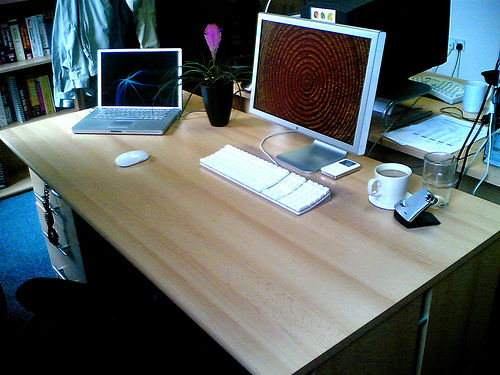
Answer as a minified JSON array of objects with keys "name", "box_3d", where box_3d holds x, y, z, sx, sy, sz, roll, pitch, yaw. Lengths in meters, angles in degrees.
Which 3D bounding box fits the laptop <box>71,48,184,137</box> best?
[{"name":"laptop","box_3d":[-0.587,-0.469,1.800,0.454,0.299,0.334,3,33,4]}]

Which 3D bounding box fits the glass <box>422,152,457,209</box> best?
[{"name":"glass","box_3d":[0.631,-0.008,1.265,0.118,0.145,0.114,-5,8,-22]}]

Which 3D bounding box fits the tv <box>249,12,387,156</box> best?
[{"name":"tv","box_3d":[0.248,-0.384,1.401,0.082,0.415,0.584,-25,41,-38]}]

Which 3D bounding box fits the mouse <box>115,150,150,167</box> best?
[{"name":"mouse","box_3d":[-0.485,-0.121,1.540,0.090,0.020,0.077,-24,39,-29]}]

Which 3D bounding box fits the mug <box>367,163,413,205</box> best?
[{"name":"mug","box_3d":[0.435,0.003,1.231,0.153,0.104,0.093,-5,20,-30]}]

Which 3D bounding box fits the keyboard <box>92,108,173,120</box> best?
[{"name":"keyboard","box_3d":[-0.594,-0.361,1.882,0.380,0.045,0.110,6,29,7]}]

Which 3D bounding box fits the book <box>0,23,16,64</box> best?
[{"name":"book","box_3d":[-1.812,-1.071,2.818,0.031,0.266,0.081,25,37,35]}]

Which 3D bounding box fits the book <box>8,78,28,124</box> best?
[{"name":"book","box_3d":[-1.816,-0.659,2.947,0.059,0.246,0.245,-12,40,-2]}]

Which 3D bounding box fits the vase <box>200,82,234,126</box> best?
[{"name":"vase","box_3d":[-0.148,-0.402,1.801,0.168,0.180,0.166,-20,33,-35]}]

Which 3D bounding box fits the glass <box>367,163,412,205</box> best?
[{"name":"glass","box_3d":[0.469,-0.021,1.292,0.172,0.121,0.108,-27,42,-31]}]

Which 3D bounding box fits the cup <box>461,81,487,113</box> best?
[{"name":"cup","box_3d":[1.047,-0.428,1.772,0.088,0.133,0.150,17,32,25]}]

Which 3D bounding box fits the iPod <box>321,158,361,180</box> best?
[{"name":"iPod","box_3d":[0.344,-0.078,1.409,0.114,0.025,0.073,-25,42,-27]}]

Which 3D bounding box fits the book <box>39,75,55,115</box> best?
[{"name":"book","box_3d":[-1.652,-0.754,3.073,0.054,0.218,0.220,-13,31,-11]}]
